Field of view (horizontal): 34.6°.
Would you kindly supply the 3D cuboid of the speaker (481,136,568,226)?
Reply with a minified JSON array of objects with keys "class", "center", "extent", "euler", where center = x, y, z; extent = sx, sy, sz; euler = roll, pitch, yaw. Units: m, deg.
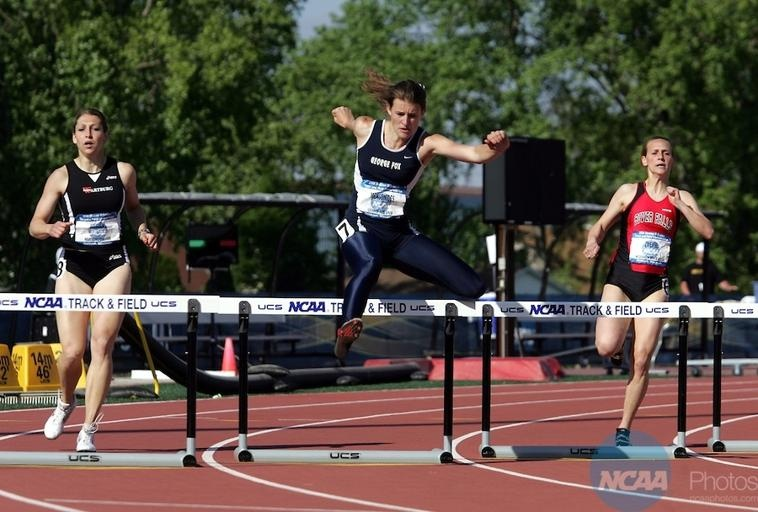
[{"class":"speaker","center":[1.799,-1.643,23.768],"extent":[0.581,1.579,1.691],"euler":[-11,26,-44]}]
